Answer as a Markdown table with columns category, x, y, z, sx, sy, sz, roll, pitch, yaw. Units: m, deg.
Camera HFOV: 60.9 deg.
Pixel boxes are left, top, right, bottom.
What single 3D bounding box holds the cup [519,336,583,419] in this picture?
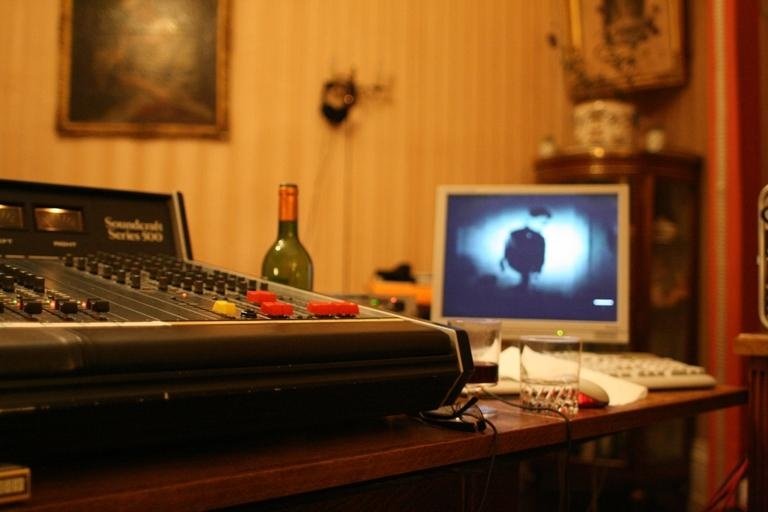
| category | x | y | z | sx | sy | sz | roll | pitch | yaw |
| --- | --- | --- | --- | --- | --- | --- | --- | --- | --- |
| cup | 0.319 | 0.226 | 1.266 | 0.115 | 0.139 | 0.098 | -2 | 2 | 17 |

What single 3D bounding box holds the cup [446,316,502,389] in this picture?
| category | x | y | z | sx | sy | sz | roll | pitch | yaw |
| --- | --- | --- | --- | --- | --- | --- | --- | --- | --- |
| cup | 0.203 | 0.187 | 1.337 | 0.142 | 0.148 | 0.135 | 0 | 1 | 0 |

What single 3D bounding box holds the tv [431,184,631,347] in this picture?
| category | x | y | z | sx | sy | sz | roll | pitch | yaw |
| --- | --- | --- | --- | --- | --- | --- | --- | --- | --- |
| tv | 0.393 | 0.030 | 1.704 | 0.480 | 0.369 | 0.049 | 1 | -17 | 3 |

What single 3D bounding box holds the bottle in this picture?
| category | x | y | z | sx | sy | sz | roll | pitch | yaw |
| --- | --- | --- | --- | --- | --- | --- | --- | --- | --- |
| bottle | -0.247 | -0.046 | 1.651 | 0.123 | 0.273 | 0.302 | -3 | 1 | -8 |
